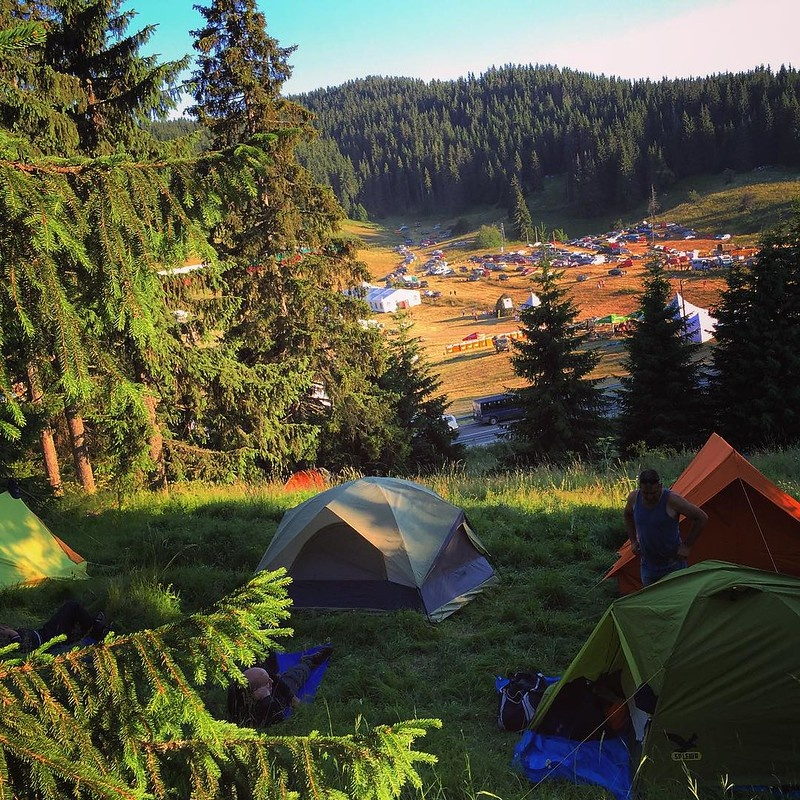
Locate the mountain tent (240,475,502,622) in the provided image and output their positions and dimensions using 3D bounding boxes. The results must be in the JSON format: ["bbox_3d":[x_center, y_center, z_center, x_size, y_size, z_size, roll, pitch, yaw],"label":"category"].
[{"bbox_3d":[-0.305,1.729,10.634,2.003,1.057,1.915,-3,3,20],"label":"mountain tent"}]
